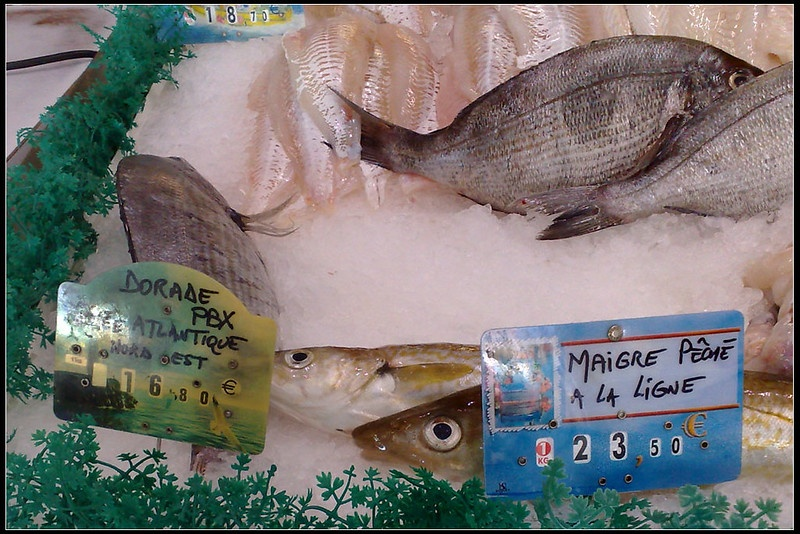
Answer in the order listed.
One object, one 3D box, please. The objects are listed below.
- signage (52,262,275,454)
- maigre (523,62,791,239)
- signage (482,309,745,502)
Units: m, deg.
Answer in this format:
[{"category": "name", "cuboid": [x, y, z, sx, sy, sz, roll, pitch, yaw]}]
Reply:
[{"category": "signage", "cuboid": [-0.772, 0.305, 2.625, 0.541, 0.439, 0.039, 11, 8, 3]}, {"category": "maigre", "cuboid": [0.929, -0.338, 2.608, 0.814, 0.475, 0.238, -10, 40, -13]}, {"category": "signage", "cuboid": [0.690, 0.457, 2.614, 0.585, 0.419, 0.051, -3, 5, -2]}]
